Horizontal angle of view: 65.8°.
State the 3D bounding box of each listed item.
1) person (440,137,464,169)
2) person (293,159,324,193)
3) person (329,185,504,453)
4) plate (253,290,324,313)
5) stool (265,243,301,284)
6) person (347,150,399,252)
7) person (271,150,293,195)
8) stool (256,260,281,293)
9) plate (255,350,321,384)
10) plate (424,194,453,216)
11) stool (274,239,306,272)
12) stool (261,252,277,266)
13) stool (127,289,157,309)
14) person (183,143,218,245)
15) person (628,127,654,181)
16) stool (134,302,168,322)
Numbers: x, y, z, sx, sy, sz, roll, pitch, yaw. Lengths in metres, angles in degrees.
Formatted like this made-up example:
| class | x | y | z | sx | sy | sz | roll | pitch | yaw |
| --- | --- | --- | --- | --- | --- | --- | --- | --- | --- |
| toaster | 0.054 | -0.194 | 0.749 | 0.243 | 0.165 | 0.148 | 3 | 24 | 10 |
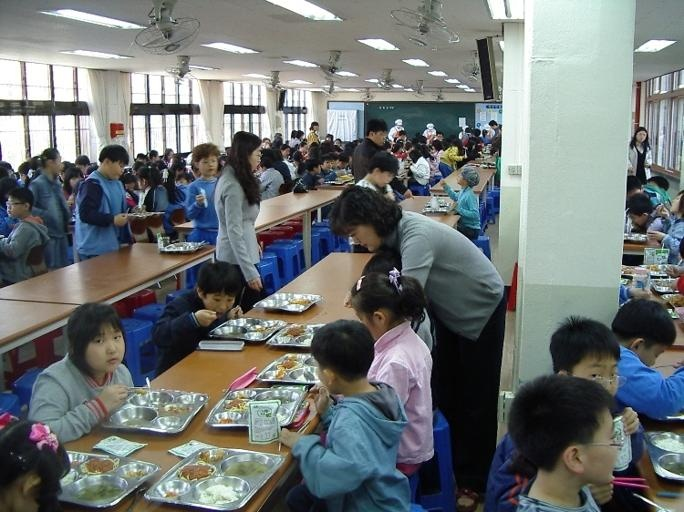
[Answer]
| class | x | y | z | sx | sy | sz | roll | pitch | yaw |
| --- | --- | --- | --- | --- | --- | --- | --- | --- | --- |
| person | 2.384 | -2.218 | 11.596 | 0.421 | 0.637 | 0.800 | 7 | 16 | 24 |
| person | -0.524 | -1.267 | 8.486 | 0.352 | 0.816 | 0.396 | -17 | 47 | -21 |
| person | 0.413 | 0.372 | 2.813 | 0.880 | 1.420 | 0.506 | -2 | 13 | -5 |
| plate | -0.296 | 0.261 | 3.101 | 0.288 | 0.038 | 0.354 | 8 | 16 | 26 |
| stool | -0.630 | 0.024 | 5.612 | 0.404 | 0.380 | 0.398 | 4 | 16 | 19 |
| person | 0.304 | -0.327 | 4.404 | 0.330 | 1.039 | 0.325 | -27 | 31 | -32 |
| person | -0.936 | -1.305 | 8.524 | 0.270 | 0.902 | 0.253 | -6 | -5 | 27 |
| stool | -0.683 | 0.200 | 4.969 | 0.253 | 0.340 | 0.277 | -2 | 3 | 3 |
| plate | -0.222 | 0.489 | 2.272 | 0.147 | 0.021 | 0.192 | 2 | 13 | 8 |
| plate | 1.088 | -0.550 | 5.973 | 0.241 | 0.177 | 0.419 | 1 | 13 | 11 |
| stool | -0.508 | 0.017 | 5.764 | 0.327 | 0.357 | 0.338 | 6 | 20 | 23 |
| stool | -0.711 | 0.025 | 5.148 | 0.123 | 0.115 | 0.126 | 5 | 9 | 18 |
| stool | -1.571 | 0.332 | 4.125 | 0.140 | 0.099 | 0.143 | 0 | 14 | 13 |
| person | -1.332 | -0.596 | 5.075 | 0.337 | 0.917 | 0.640 | -4 | 15 | -14 |
| person | 4.846 | -1.631 | 8.569 | 0.344 | 0.837 | 1.779 | 8 | 16 | 28 |
| stool | -1.322 | 0.389 | 3.639 | 0.191 | 0.104 | 0.195 | 2 | 13 | 19 |
